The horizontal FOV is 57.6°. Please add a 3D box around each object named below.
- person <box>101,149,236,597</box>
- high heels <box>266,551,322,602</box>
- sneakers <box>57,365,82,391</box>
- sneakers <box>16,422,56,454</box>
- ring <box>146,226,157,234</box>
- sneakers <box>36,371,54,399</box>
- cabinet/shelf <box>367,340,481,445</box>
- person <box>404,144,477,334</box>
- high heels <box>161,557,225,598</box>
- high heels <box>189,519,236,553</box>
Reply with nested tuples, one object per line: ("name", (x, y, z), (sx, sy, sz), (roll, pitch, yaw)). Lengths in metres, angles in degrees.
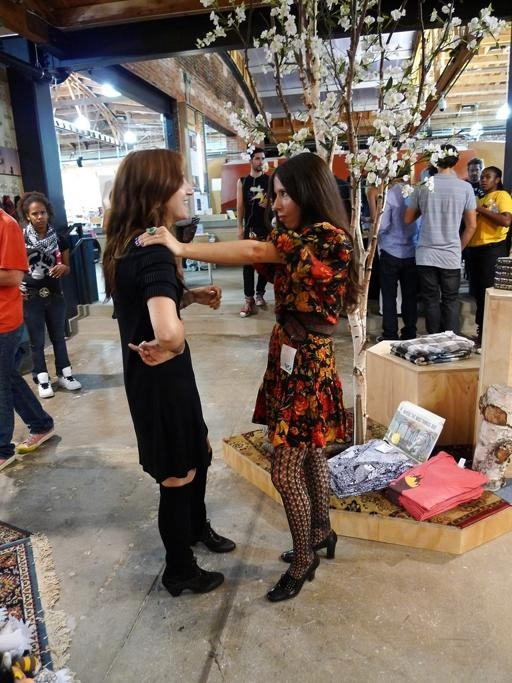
("person", (-0.250, 0.169, 1.418), (0.321, 1.430, 0.600), (-4, 11, -2))
("high heels", (0.152, 0.792, 1.595), (0.238, 0.094, 0.085), (-25, 0, -31))
("sneakers", (-1.639, 0.319, 3.977), (0.310, 0.196, 0.122), (7, 12, 40))
("sneakers", (-1.363, 0.606, 2.931), (0.099, 0.096, 0.268), (1, 10, 18))
("ring", (-0.259, -0.274, 1.161), (0.023, 0.007, 0.026), (24, -32, -30))
("sneakers", (-1.709, 0.356, 3.787), (0.109, 0.130, 0.315), (-4, 5, -25))
("cabinet/shelf", (0.989, 0.317, 2.769), (0.461, 0.450, 0.688), (-3, 6, 0))
("person", (1.555, -0.718, 4.008), (0.562, 1.476, 2.030), (2, 11, 24))
("high heels", (-0.222, 0.778, 1.615), (0.253, 0.122, 0.088), (0, 29, -19))
("high heels", (-0.166, 0.755, 1.859), (0.229, 0.142, 0.083), (4, 18, -8))
